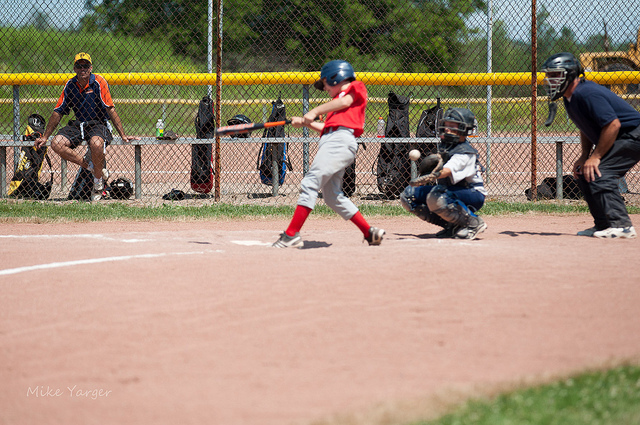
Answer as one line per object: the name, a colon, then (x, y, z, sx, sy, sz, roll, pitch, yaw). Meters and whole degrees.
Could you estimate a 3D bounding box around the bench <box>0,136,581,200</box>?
bench: (-0.558, -0.582, 10.695, 7.409, 0.861, 1.402, 1, 7, 4)

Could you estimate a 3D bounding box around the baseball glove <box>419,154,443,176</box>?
baseball glove: (1.055, -0.452, 7.691, 0.239, 0.202, 0.172, 19, 22, 7)

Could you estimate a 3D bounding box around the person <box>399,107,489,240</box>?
person: (1.181, -0.351, 7.682, 0.777, 1.237, 0.614, 2, 7, 10)

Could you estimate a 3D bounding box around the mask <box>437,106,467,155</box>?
mask: (1.224, -0.807, 7.688, 0.347, 0.349, 0.436, 11, 0, 12)

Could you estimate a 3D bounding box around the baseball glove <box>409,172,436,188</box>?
baseball glove: (0.961, -0.295, 7.641, 0.237, 0.163, 0.497, 1, 7, 6)

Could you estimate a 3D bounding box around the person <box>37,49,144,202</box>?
person: (-2.979, -1.058, 10.366, 0.902, 1.851, 0.610, -1, 7, -15)

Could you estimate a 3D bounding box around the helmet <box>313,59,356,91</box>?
helmet: (0.176, -1.259, 7.462, 0.301, 0.243, 0.461, -2, -2, -44)

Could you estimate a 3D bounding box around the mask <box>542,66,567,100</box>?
mask: (2.239, -1.251, 7.930, 0.185, 0.310, 0.316, 0, 7, -7)

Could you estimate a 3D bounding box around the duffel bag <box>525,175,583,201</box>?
duffel bag: (3.015, -0.323, 10.627, 0.620, 0.208, 0.352, -2, 4, -9)

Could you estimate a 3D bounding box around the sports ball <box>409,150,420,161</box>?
sports ball: (0.945, -0.564, 8.097, 0.121, 0.102, 0.113, 7, -2, 0)

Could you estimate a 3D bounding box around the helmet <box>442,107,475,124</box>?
helmet: (1.297, -0.904, 7.646, 0.298, 0.128, 0.174, 2, 7, 10)
